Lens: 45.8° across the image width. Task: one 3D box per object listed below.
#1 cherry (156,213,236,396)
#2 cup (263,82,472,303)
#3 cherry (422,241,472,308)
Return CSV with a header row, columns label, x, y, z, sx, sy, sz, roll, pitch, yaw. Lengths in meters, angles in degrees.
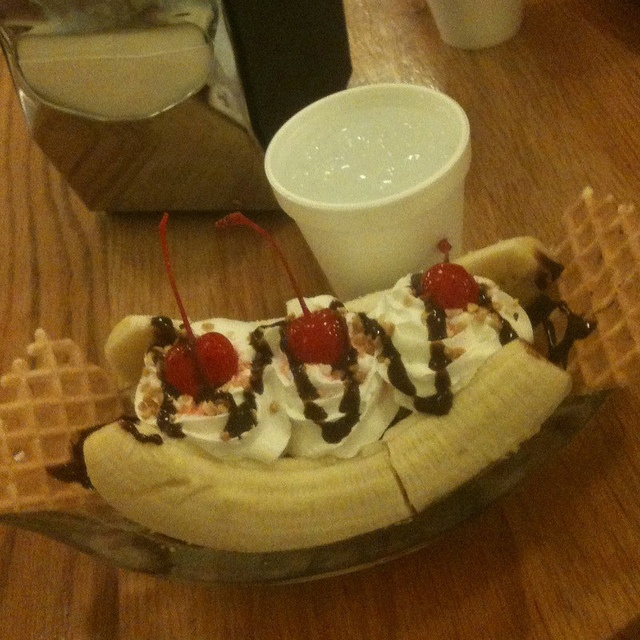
label,x,y,z,sx,sy,sz,roll,pitch,yaw
cherry,-0.153,0.045,0.929,0.084,0.079,0.084,24,69,19
cup,0.062,-0.186,1.198,0.306,0.314,0.304,-5,51,6
cherry,0.157,-0.043,0.933,0.065,0.030,0.052,-1,63,9
